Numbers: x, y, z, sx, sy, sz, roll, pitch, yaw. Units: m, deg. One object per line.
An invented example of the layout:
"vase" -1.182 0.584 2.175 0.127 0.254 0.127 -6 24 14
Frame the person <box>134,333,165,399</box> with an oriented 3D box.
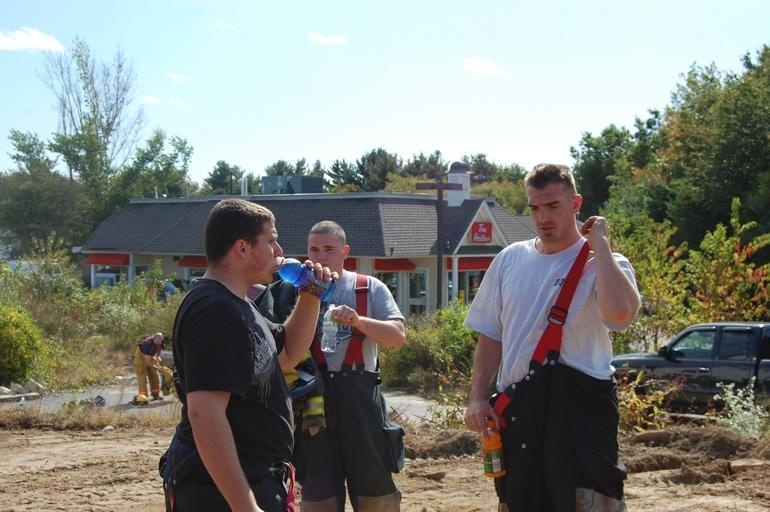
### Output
"person" -5.742 2.753 21.023 0.744 1.806 0.709 10 16 21
